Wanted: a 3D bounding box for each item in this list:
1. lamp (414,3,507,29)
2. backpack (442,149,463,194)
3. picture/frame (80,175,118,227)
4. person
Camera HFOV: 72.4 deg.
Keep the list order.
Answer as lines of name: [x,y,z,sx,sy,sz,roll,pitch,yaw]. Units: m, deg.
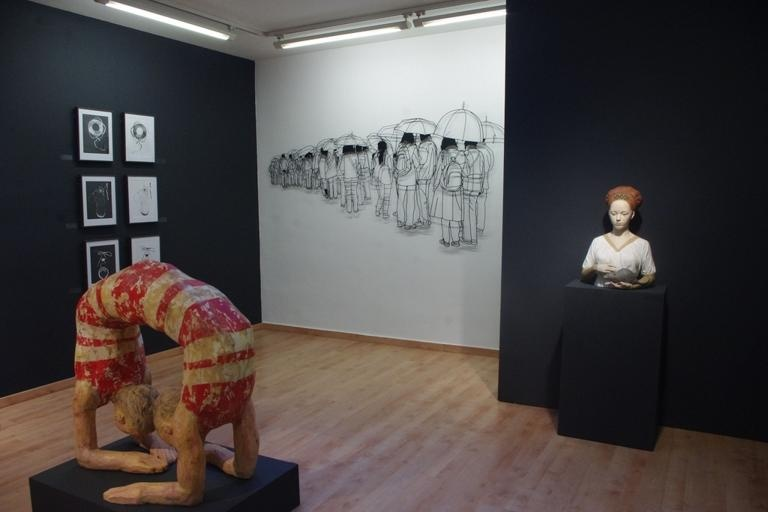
lamp: [0.878,-2.672,5.835,1.040,0.117,0.442,5,14,23]
backpack: [0.840,-1.108,6.608,0.299,0.516,0.545,1,19,-3]
picture/frame: [-3.166,-0.615,5.800,0.070,0.551,0.386,10,16,43]
person: [2.045,-0.148,4.548,0.562,0.911,0.538,1,6,29]
